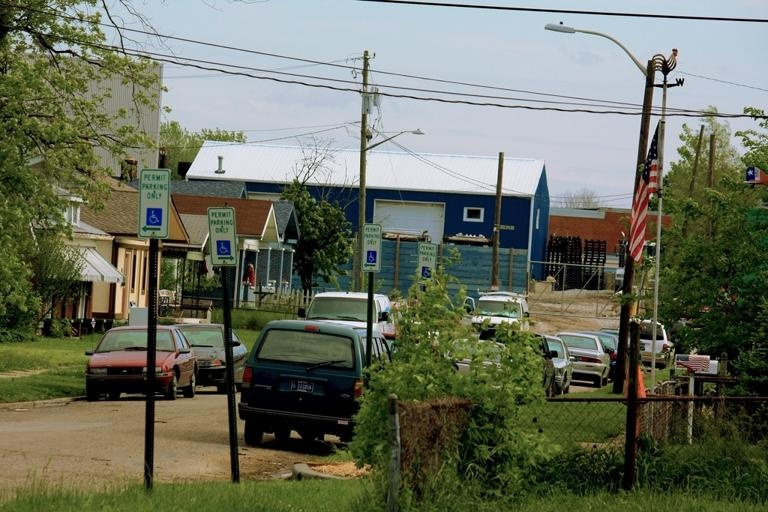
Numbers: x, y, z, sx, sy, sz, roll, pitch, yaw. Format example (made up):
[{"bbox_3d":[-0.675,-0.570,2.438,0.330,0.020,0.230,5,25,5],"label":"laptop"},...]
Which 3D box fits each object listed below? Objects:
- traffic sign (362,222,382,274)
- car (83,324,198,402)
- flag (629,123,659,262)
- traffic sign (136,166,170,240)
[{"bbox_3d":[-0.300,-0.225,30.895,0.448,1.196,0.621,4,-7,-4],"label":"traffic sign"},{"bbox_3d":[-6.478,2.819,34.674,2.372,1.860,4.111,1,-3,-6],"label":"car"},{"bbox_3d":[6.572,-1.524,32.713,0.687,3.824,4.204,2,-7,11],"label":"flag"},{"bbox_3d":[-4.510,-1.032,25.386,0.637,1.400,0.439,4,-6,-7],"label":"traffic sign"}]
